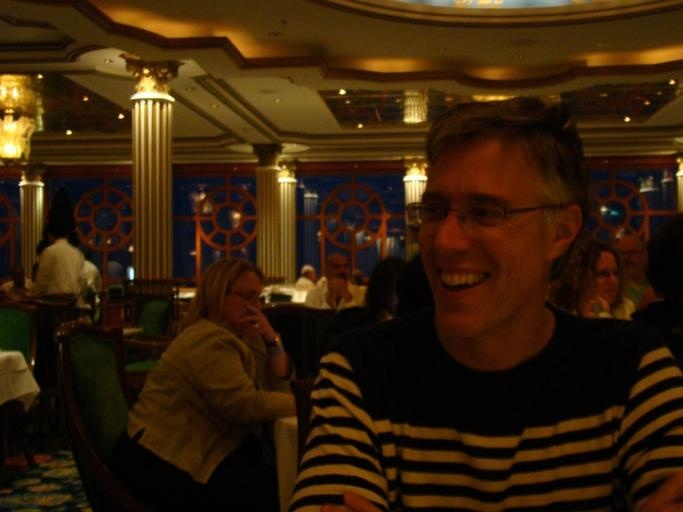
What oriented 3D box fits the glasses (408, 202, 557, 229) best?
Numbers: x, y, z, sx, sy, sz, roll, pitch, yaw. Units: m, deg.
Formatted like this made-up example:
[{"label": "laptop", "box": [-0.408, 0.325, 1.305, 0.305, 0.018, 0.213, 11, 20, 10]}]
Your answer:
[{"label": "glasses", "box": [0.309, -0.083, 1.308, 0.287, 0.049, 0.095, 0, 1, 12]}]
